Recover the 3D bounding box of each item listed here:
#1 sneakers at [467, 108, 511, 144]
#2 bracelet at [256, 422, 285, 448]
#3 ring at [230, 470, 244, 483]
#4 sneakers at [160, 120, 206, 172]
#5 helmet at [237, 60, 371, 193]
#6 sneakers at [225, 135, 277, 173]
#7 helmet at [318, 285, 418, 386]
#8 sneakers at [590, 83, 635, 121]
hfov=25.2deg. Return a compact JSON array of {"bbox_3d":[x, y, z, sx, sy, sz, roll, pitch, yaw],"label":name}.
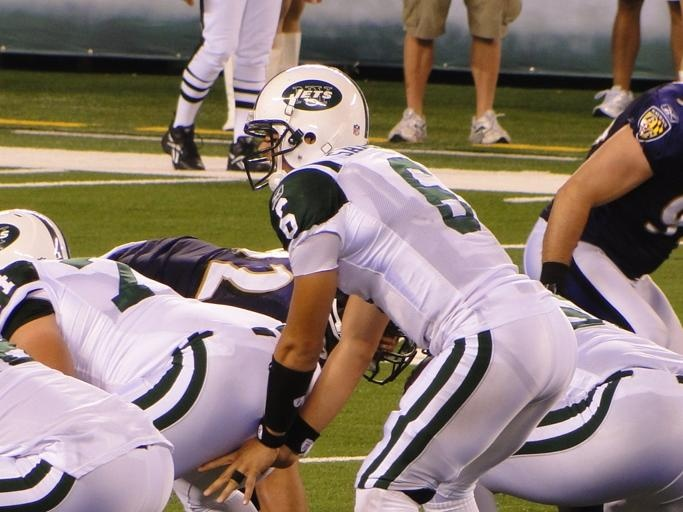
[{"bbox_3d":[0.773,-0.680,8.083,0.135,0.137,0.231,-9,14,-30],"label":"sneakers"},{"bbox_3d":[-0.225,0.558,4.704,0.065,0.078,0.048,11,-24,2],"label":"bracelet"},{"bbox_3d":[-0.325,0.684,4.727,0.039,0.030,0.036,24,9,-4],"label":"ring"},{"bbox_3d":[-0.764,-0.499,7.214,0.097,0.119,0.283,13,27,-38],"label":"sneakers"},{"bbox_3d":[-0.123,-0.449,5.150,0.457,0.415,0.351,-5,2,0],"label":"helmet"},{"bbox_3d":[-0.440,-0.494,7.207,0.180,0.218,0.156,6,37,7],"label":"sneakers"},{"bbox_3d":[0.106,0.322,5.454,0.400,0.384,0.291,4,19,-3],"label":"helmet"},{"bbox_3d":[1.530,-0.869,8.792,0.271,0.229,0.544,-3,1,6],"label":"sneakers"}]
